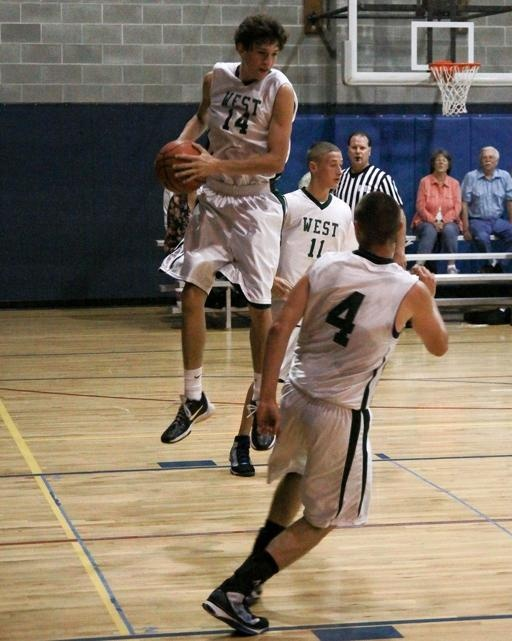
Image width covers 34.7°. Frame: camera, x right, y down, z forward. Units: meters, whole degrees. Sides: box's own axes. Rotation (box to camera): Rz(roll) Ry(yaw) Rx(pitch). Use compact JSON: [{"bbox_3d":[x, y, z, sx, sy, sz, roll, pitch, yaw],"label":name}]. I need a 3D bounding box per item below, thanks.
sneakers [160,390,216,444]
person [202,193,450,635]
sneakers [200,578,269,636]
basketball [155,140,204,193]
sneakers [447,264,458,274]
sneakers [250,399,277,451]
[{"bbox_3d":[-0.269,0.352,2.995,0.097,0.122,0.297,-8,18,40],"label":"sneakers"},{"bbox_3d":[0.134,0.189,1.783,0.558,0.927,0.296,-1,7,-13],"label":"person"},{"bbox_3d":[-0.036,0.593,1.677,0.090,0.130,0.137,2,7,21],"label":"sneakers"},{"bbox_3d":[-0.269,-0.529,2.819,0.143,0.179,0.207,-3,7,-29],"label":"basketball"},{"bbox_3d":[1.993,-0.513,8.273,0.062,0.061,0.168,-1,-8,5],"label":"sneakers"},{"bbox_3d":[0.010,0.366,2.819,0.101,0.103,0.277,-3,19,-6],"label":"sneakers"}]
